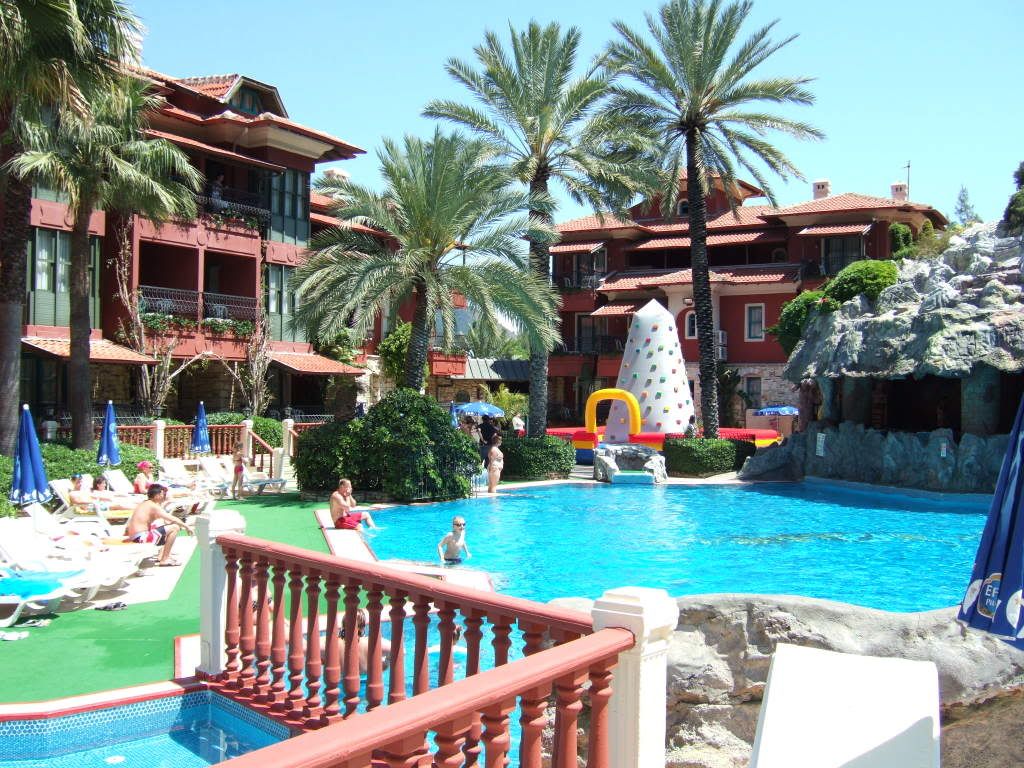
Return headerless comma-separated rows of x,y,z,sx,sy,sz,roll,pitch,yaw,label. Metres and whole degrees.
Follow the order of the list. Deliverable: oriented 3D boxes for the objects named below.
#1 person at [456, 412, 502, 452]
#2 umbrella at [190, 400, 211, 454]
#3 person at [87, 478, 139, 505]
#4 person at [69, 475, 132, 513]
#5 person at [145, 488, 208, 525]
-0.833,1.503,26.727,1.100,1.311,1.136,-2,7,-23,person
-7.540,1.063,22.546,0.398,0.834,1.092,-1,-1,-19,umbrella
-6.880,1.923,16.083,0.746,0.444,0.540,-3,-4,38,person
-7.036,1.853,15.641,0.849,0.386,0.568,0,-2,24,person
-5.262,1.918,14.529,1.060,0.371,0.711,4,7,11,person
